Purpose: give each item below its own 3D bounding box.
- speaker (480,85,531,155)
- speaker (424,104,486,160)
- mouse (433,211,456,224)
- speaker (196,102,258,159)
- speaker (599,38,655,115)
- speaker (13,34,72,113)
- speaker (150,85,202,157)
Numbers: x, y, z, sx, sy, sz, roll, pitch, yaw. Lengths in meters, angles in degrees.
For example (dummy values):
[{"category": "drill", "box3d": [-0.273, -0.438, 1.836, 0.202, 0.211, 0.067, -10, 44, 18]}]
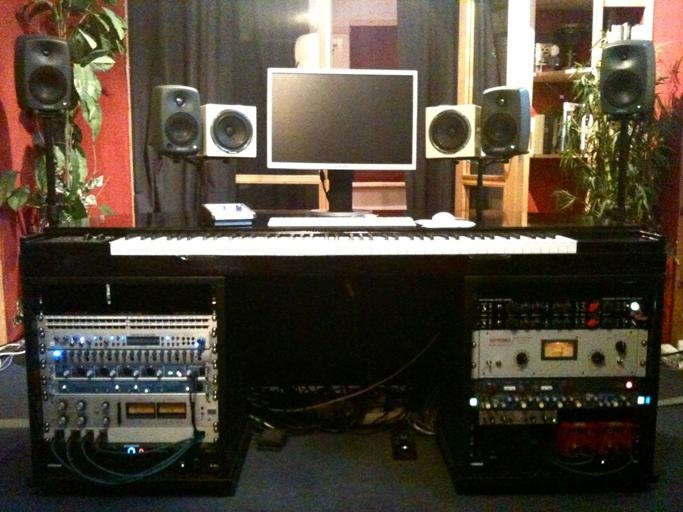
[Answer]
[{"category": "speaker", "box3d": [0.751, -0.614, 3.338, 0.187, 0.320, 0.182, 1, 2, 31]}, {"category": "speaker", "box3d": [0.532, -0.544, 3.414, 0.275, 0.295, 0.231, 0, 3, 17]}, {"category": "mouse", "box3d": [0.439, -0.154, 3.092, 0.109, 0.046, 0.183, -2, 8, 10]}, {"category": "speaker", "box3d": [-0.557, -0.608, 3.564, 0.271, 0.242, 0.158, -5, 9, -30]}, {"category": "speaker", "box3d": [1.259, -0.772, 3.193, 0.216, 0.352, 0.211, 2, 3, 22]}, {"category": "speaker", "box3d": [-1.307, -0.836, 3.225, 0.227, 0.352, 0.220, 1, 30, -14]}, {"category": "speaker", "box3d": [-0.771, -0.657, 3.545, 0.205, 0.348, 0.189, -5, 4, -10]}]
